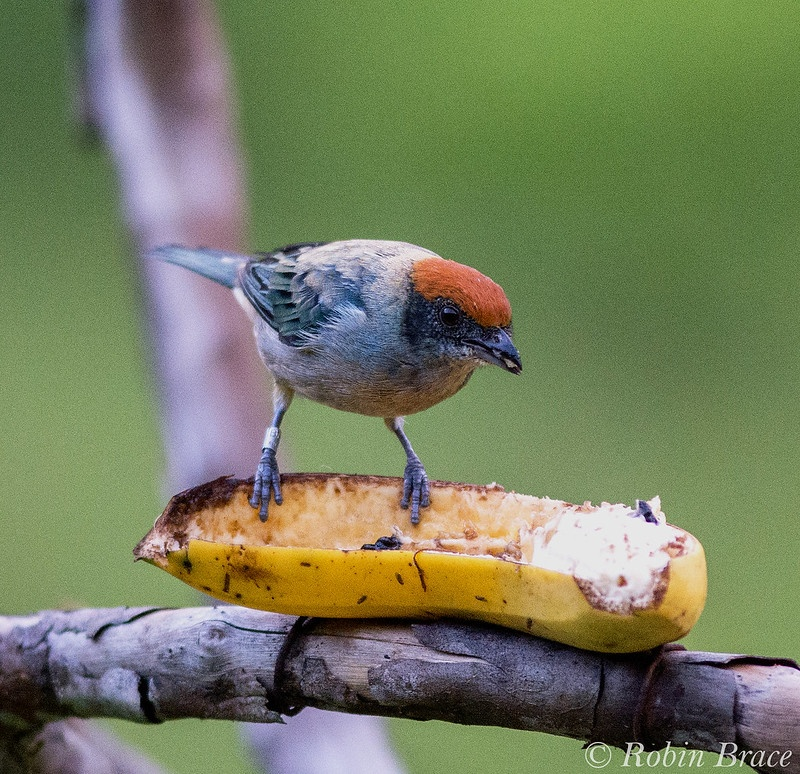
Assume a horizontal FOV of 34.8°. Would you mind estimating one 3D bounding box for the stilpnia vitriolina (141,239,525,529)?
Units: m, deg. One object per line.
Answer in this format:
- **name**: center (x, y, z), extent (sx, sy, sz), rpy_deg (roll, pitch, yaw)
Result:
- **stilpnia vitriolina**: center (-0.240, -0.140, 3.908), extent (0.623, 0.844, 1.547), rpy_deg (-9, 27, -39)
